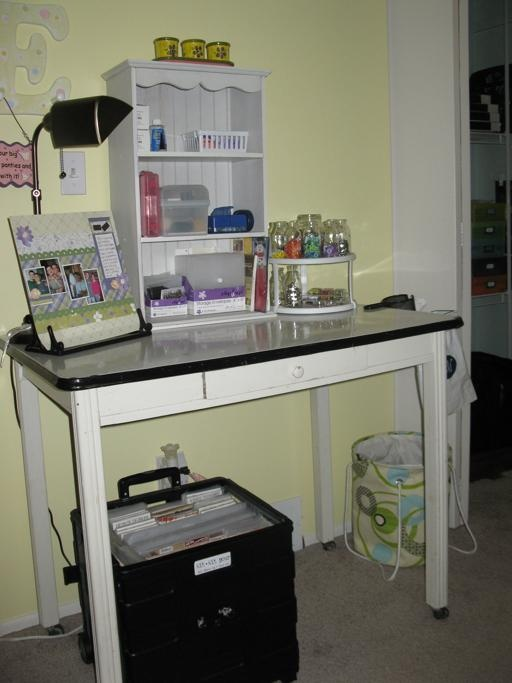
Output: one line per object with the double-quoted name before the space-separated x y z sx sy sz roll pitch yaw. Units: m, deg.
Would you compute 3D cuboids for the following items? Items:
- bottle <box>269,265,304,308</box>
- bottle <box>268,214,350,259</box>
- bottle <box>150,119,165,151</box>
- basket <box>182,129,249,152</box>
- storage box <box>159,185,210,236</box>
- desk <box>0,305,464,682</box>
"bottle" 0.097 -0.178 1.911 0.117 0.190 0.093 7 11 43
"bottle" 0.165 -0.379 1.925 0.217 0.122 0.160 -12 18 -31
"bottle" -0.286 -0.597 1.681 0.044 0.090 0.044 -2 6 0
"basket" -0.116 -0.605 1.781 0.205 0.079 0.168 -4 7 -9
"storage box" -0.218 -0.390 1.730 0.120 0.127 0.075 -11 21 -33
"desk" -0.123 0.368 1.658 1.207 1.014 0.786 -8 10 -35
